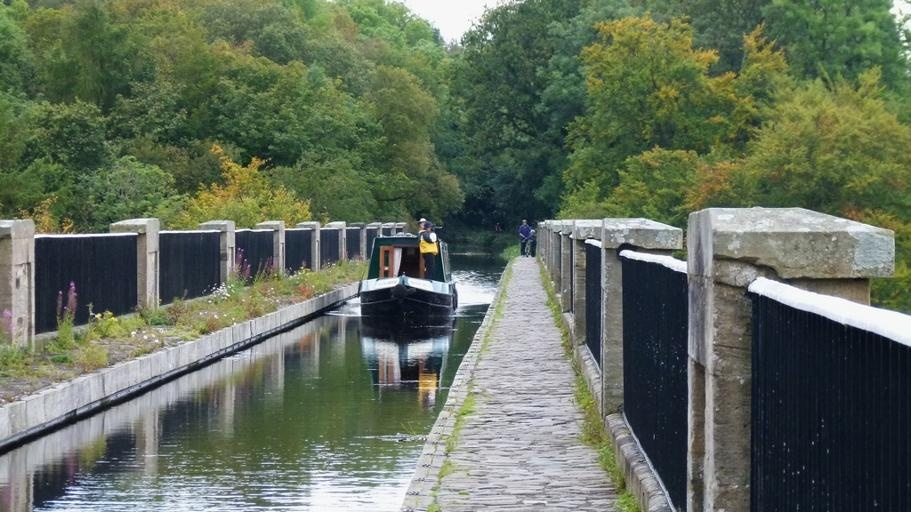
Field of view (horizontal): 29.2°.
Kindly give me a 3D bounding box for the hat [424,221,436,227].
[{"bbox_3d":[-1.530,-1.908,104.040,0.676,0.309,0.913,5,1,4],"label":"hat"}]
